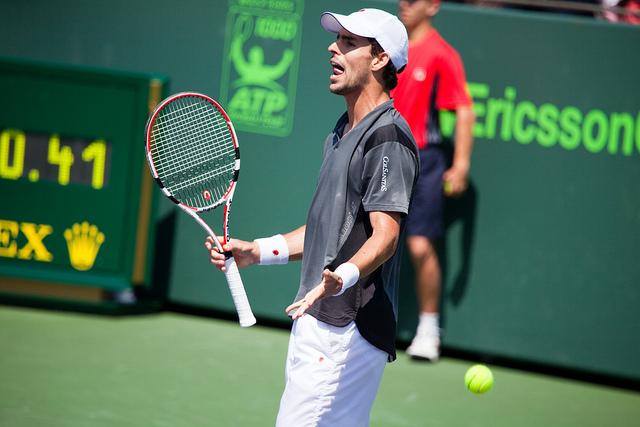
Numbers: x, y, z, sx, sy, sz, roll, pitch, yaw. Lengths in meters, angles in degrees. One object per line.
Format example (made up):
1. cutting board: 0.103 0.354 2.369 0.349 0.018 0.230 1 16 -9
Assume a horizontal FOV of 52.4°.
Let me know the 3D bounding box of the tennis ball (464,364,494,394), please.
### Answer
1. tennis ball: 1.158 1.211 4.769 0.201 0.235 0.218 6 9 -1

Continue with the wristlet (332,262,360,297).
1. wristlet: 0.141 0.340 3.491 0.115 0.169 0.132 5 4 36

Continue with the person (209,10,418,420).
1. person: 0.113 -0.016 3.809 0.725 2.407 0.737 2 4 -24
